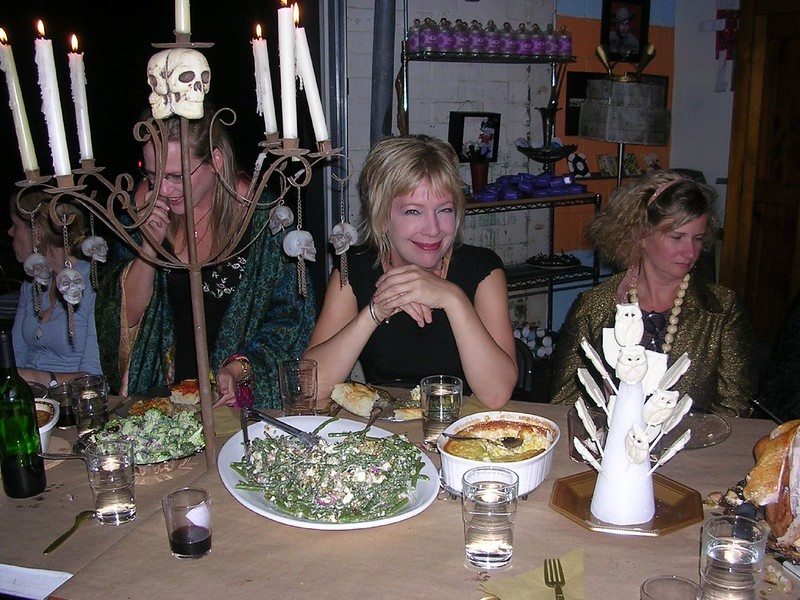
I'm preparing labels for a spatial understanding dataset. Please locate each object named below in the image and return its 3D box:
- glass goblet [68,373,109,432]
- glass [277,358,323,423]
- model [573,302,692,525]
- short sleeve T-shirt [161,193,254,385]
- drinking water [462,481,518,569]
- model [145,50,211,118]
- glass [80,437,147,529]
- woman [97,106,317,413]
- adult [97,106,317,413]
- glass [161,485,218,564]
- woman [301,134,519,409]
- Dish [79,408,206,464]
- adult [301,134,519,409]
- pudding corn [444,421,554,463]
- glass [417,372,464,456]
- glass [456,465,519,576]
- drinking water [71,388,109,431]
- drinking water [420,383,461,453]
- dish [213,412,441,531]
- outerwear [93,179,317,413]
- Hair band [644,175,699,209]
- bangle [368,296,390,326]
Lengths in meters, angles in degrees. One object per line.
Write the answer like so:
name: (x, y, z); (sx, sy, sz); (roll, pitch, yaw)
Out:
glass goblet: (-0.978, 0.342, 2.158); (0.106, 0.172, 0.105); (-4, 5, -13)
glass: (-0.324, 0.288, 2.189); (0.124, 0.191, 0.124); (-5, 9, -42)
model: (0.549, 0.308, 1.659); (0.268, 0.461, 0.227); (-2, 7, -16)
short sleeve T-shirt: (-0.842, 0.017, 2.967); (0.394, 0.681, 0.159); (-2, -7, 13)
drinking water: (0.207, 0.527, 1.622); (0.128, 0.190, 0.121); (1, 1, 8)
model: (-0.540, -0.529, 1.662); (0.141, 0.164, 0.129); (-8, 19, -19)
glass: (-0.740, 0.476, 1.765); (0.120, 0.193, 0.118); (-6, -2, -28)
woman: (-0.831, -0.126, 2.847); (0.868, 1.244, 0.716); (4, 14, -9)
adult: (-0.855, -0.131, 2.829); (0.894, 1.271, 0.744); (0, 19, -7)
glass: (-0.516, 0.540, 1.627); (0.126, 0.128, 0.111); (-1, 5, -28)
woman: (0.076, -0.013, 2.623); (0.774, 1.095, 0.672); (7, 28, 11)
Dish: (-0.670, 0.388, 1.814); (0.300, 0.050, 0.302); (-3, 4, -15)
adult: (0.067, -0.011, 2.624); (0.811, 1.109, 0.675); (6, 25, 11)
pudding corn: (0.251, 0.362, 1.824); (0.241, 0.054, 0.262); (-1, 3, 34)
glass: (0.124, 0.346, 2.045); (0.141, 0.214, 0.136); (3, -7, -24)
glass: (0.209, 0.522, 1.631); (0.141, 0.217, 0.143); (-5, -9, 41)
drinking water: (-0.977, 0.358, 2.156); (0.105, 0.154, 0.102); (0, 7, 1)
drinking water: (0.123, 0.347, 2.040); (0.134, 0.207, 0.128); (0, -2, 3)
dish: (-0.112, 0.467, 1.710); (0.366, 0.520, 0.068); (-26, 41, 5)
outerwear: (-0.726, -0.004, 2.522); (0.881, 0.904, 0.529); (-1, -3, -7)
Hair band: (1.076, -0.423, 2.729); (0.139, 0.038, 0.135); (-39, 1, 28)
bangle: (-0.079, 0.037, 2.415); (0.069, 0.091, 0.026); (-3, 14, 30)
